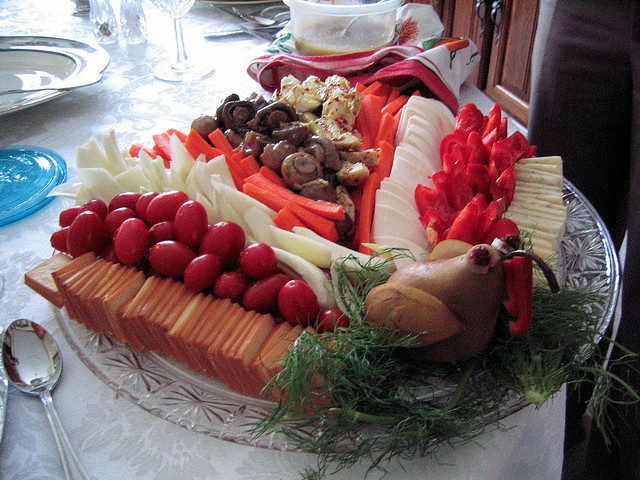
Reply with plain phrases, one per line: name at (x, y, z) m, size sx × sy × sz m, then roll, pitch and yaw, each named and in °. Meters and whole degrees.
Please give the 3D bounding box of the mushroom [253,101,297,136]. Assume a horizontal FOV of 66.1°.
mushroom at (-0.121, -0.314, 1.241) m, size 0.120 × 0.057 × 0.164 m, roll 2°, pitch 18°, yaw -21°

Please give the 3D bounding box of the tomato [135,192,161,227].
tomato at (-0.364, -0.066, 1.015) m, size 0.061 × 0.075 × 0.064 m, roll 2°, pitch 2°, yaw -2°

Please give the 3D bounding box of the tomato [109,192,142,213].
tomato at (-0.409, -0.084, 1.033) m, size 0.051 × 0.031 × 0.038 m, roll -15°, pitch 0°, yaw 20°

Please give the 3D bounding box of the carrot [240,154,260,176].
carrot at (-0.169, -0.180, 1.176) m, size 0.037 × 0.033 × 0.049 m, roll -20°, pitch 70°, yaw -7°

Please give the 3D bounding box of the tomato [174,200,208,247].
tomato at (-0.244, -0.032, 0.958) m, size 0.057 × 0.087 × 0.051 m, roll -3°, pitch 2°, yaw 11°

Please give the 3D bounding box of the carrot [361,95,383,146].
carrot at (0.144, -0.325, 1.305) m, size 0.052 × 0.134 × 0.035 m, roll -1°, pitch -6°, yaw -1°

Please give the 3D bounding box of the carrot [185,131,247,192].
carrot at (-0.239, -0.193, 1.239) m, size 0.152 × 0.049 × 0.155 m, roll -9°, pitch 54°, yaw -47°

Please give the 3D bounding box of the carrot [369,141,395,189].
carrot at (0.154, -0.191, 1.203) m, size 0.059 × 0.119 × 0.032 m, roll 10°, pitch -14°, yaw -3°

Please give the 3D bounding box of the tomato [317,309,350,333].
tomato at (0.024, 0.141, 0.876) m, size 0.042 × 0.046 × 0.046 m, roll -22°, pitch 21°, yaw 10°

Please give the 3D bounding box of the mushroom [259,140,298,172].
mushroom at (-0.098, -0.200, 1.133) m, size 0.068 × 0.041 × 0.072 m, roll -14°, pitch 37°, yaw -10°

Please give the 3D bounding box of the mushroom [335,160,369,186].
mushroom at (0.074, -0.157, 1.143) m, size 0.055 × 0.038 × 0.059 m, roll 10°, pitch 5°, yaw -20°

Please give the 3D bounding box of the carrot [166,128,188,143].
carrot at (-0.368, -0.279, 1.274) m, size 0.057 × 0.018 × 0.060 m, roll 24°, pitch 25°, yaw -17°

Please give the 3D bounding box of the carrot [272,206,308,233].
carrot at (-0.060, -0.043, 1.052) m, size 0.072 × 0.019 × 0.042 m, roll 43°, pitch 78°, yaw -3°

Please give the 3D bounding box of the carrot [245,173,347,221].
carrot at (-0.059, -0.095, 1.094) m, size 0.160 × 0.027 × 0.044 m, roll 28°, pitch 54°, yaw 13°

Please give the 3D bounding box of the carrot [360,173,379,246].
carrot at (0.111, -0.073, 1.132) m, size 0.044 × 0.036 × 0.170 m, roll -5°, pitch 57°, yaw 19°

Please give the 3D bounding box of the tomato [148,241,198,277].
tomato at (-0.275, 0.034, 0.942) m, size 0.089 × 0.059 × 0.055 m, roll 15°, pitch 35°, yaw -22°

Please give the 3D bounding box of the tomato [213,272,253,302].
tomato at (-0.162, 0.083, 0.910) m, size 0.063 × 0.047 × 0.049 m, roll -9°, pitch 75°, yaw -23°

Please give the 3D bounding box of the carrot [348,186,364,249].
carrot at (0.086, -0.061, 1.164) m, size 0.030 × 0.034 × 0.133 m, roll -2°, pitch 67°, yaw 10°

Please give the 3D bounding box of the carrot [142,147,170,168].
carrot at (-0.419, -0.220, 1.275) m, size 0.063 × 0.022 × 0.067 m, roll 21°, pitch 32°, yaw -3°

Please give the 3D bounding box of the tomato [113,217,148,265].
tomato at (-0.358, -0.001, 0.931) m, size 0.050 × 0.086 × 0.057 m, roll 14°, pitch -15°, yaw -31°

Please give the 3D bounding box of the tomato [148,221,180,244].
tomato at (-0.308, -0.015, 0.966) m, size 0.054 × 0.043 × 0.040 m, roll -1°, pitch -9°, yaw -20°

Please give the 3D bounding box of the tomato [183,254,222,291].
tomato at (-0.213, 0.064, 0.927) m, size 0.087 × 0.056 × 0.059 m, roll -19°, pitch -8°, yaw 16°

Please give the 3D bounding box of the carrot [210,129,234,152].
carrot at (-0.250, -0.251, 1.233) m, size 0.036 × 0.018 × 0.070 m, roll -30°, pitch 77°, yaw -19°

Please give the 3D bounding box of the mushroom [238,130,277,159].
mushroom at (-0.155, -0.235, 1.186) m, size 0.067 × 0.071 × 0.028 m, roll 37°, pitch 16°, yaw 13°

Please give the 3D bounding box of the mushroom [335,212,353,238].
mushroom at (0.054, -0.032, 1.111) m, size 0.048 × 0.028 × 0.050 m, roll 11°, pitch 62°, yaw -7°

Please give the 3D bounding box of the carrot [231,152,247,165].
carrot at (-0.195, -0.198, 1.187) m, size 0.034 × 0.032 × 0.009 m, roll 13°, pitch -4°, yaw -10°

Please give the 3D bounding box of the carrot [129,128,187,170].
carrot at (-0.436, -0.256, 1.295) m, size 0.027 × 0.087 × 0.093 m, roll 27°, pitch 73°, yaw 38°

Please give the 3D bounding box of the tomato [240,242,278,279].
tomato at (-0.121, 0.014, 0.949) m, size 0.076 × 0.091 × 0.079 m, roll -1°, pitch 59°, yaw -13°

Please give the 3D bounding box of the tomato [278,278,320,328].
tomato at (-0.043, 0.108, 0.904) m, size 0.063 × 0.103 × 0.064 m, roll -1°, pitch 34°, yaw 6°
